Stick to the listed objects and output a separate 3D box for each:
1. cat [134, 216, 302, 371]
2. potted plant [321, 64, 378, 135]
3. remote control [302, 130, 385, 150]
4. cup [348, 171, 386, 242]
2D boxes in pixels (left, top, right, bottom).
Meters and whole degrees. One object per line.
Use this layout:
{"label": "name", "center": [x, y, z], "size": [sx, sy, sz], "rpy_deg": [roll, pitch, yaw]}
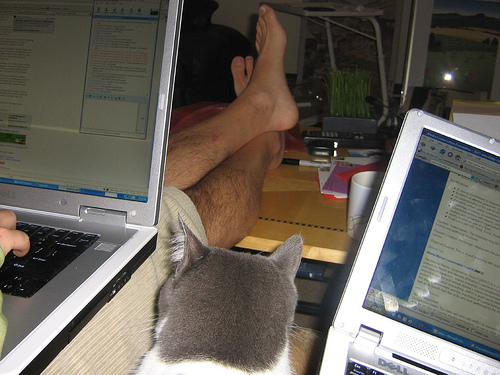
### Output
{"label": "cat", "center": [-0.037, 0.180, 0.683], "size": [0.166, 0.289, 0.156], "rpy_deg": [5, -27, 2]}
{"label": "potted plant", "center": [0.370, -0.320, 1.542], "size": [0.162, 0.234, 0.198], "rpy_deg": [-16, 30, -20]}
{"label": "remote control", "center": [0.298, -0.161, 1.315], "size": [0.215, 0.036, 0.097], "rpy_deg": [4, 25, -1]}
{"label": "cup", "center": [0.252, 0.046, 0.887], "size": [0.072, 0.104, 0.117], "rpy_deg": [0, 3, 20]}
